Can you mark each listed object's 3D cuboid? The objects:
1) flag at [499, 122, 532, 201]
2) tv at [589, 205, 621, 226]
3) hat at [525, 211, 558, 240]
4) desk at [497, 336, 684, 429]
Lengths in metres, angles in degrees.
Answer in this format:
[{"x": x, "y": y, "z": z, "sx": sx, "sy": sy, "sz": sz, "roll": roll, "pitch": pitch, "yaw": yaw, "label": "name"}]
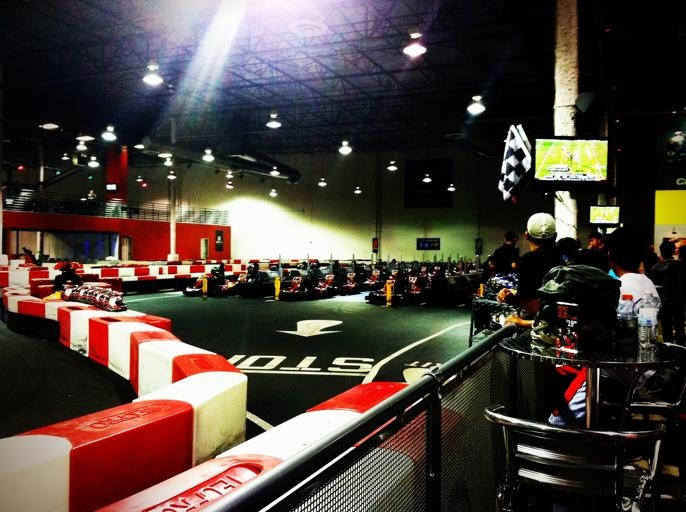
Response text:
[{"x": 2.947, "y": -1.613, "z": 8.789, "sx": 0.454, "sy": 1.241, "sz": 0.779, "roll": -13, "pitch": 1, "yaw": -7, "label": "flag"}, {"x": 7.578, "y": -1.154, "z": 14.883, "sx": 1.037, "sy": 0.613, "sz": 0.507, "roll": 1, "pitch": 2, "yaw": -4, "label": "tv"}, {"x": 2.426, "y": -0.387, "z": 6.311, "sx": 0.281, "sy": 0.191, "sz": 0.381, "roll": 2, "pitch": 17, "yaw": 14, "label": "hat"}, {"x": 2.116, "y": 1.021, "z": 4.419, "sx": 1.265, "sy": 0.764, "sz": 1.195, "roll": 5, "pitch": -12, "yaw": 4, "label": "desk"}]
